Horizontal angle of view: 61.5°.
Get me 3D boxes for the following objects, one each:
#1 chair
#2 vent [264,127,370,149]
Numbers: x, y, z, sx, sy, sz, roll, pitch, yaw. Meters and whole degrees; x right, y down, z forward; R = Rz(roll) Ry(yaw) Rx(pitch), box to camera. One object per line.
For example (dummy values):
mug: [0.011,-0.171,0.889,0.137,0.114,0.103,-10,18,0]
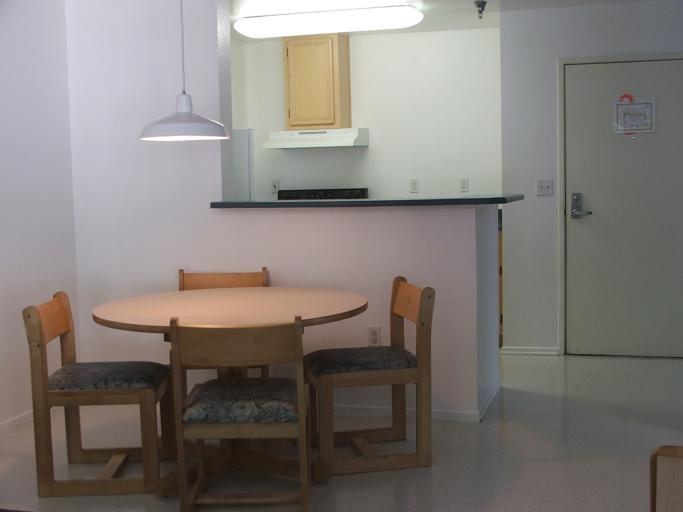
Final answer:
chair: [-0.289,0.563,2.954,1.174,0.644,1.235,-1,2,-6]
vent: [-0.231,-1.123,5.450,0.976,0.177,0.284,2,10,14]
